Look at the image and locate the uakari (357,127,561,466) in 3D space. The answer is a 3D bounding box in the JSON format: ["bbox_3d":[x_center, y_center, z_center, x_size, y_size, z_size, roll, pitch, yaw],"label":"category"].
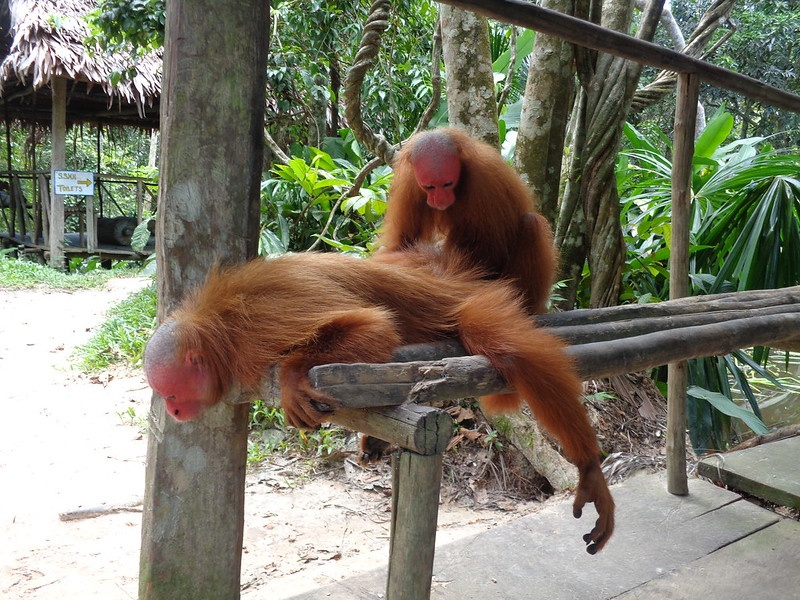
[{"bbox_3d":[0.178,-0.222,3.366,0.744,1.061,0.859,-13,30,-14],"label":"uakari"}]

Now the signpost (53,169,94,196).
[{"bbox_3d":[-4.596,-1.649,10.706,0.410,0.277,0.054,-1,7,-25],"label":"signpost"}]
